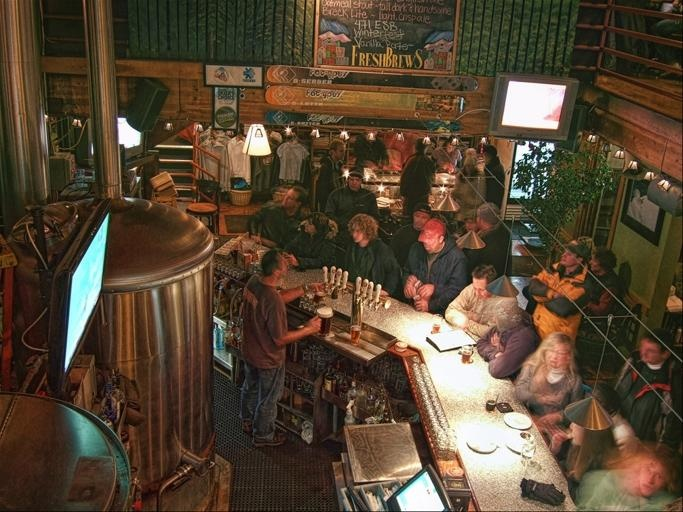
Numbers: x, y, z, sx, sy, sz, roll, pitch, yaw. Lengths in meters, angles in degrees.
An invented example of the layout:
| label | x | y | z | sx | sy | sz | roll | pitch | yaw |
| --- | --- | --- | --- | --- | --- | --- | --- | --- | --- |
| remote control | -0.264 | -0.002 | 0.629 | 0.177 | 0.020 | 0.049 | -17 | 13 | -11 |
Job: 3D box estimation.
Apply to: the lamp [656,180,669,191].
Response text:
| label | x | y | z | sx | sy | sz | roll | pitch | yaw |
| --- | --- | --- | --- | --- | --- | --- | --- | --- | --- |
| lamp | 3.415 | -0.757 | 5.362 | 0.097 | 0.098 | 0.100 | -9 | 27 | -19 |

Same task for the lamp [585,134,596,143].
| label | x | y | z | sx | sy | sz | roll | pitch | yaw |
| --- | --- | --- | --- | --- | --- | --- | --- | --- | --- |
| lamp | 3.570 | -1.676 | 7.222 | 0.161 | 0.145 | 0.224 | 3 | 12 | 23 |

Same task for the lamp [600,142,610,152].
| label | x | y | z | sx | sy | sz | roll | pitch | yaw |
| --- | --- | --- | --- | --- | --- | --- | --- | --- | --- |
| lamp | 4.721 | -1.953 | 9.038 | 0.224 | 0.098 | 0.387 | 4 | 28 | 16 |

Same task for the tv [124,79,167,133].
| label | x | y | z | sx | sy | sz | roll | pitch | yaw |
| --- | --- | --- | --- | --- | --- | --- | --- | --- | --- |
| tv | -2.667 | -2.070 | 6.943 | 0.601 | 0.708 | 0.397 | -1 | 21 | -12 |

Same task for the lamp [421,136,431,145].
| label | x | y | z | sx | sy | sz | roll | pitch | yaw |
| --- | --- | --- | --- | --- | --- | --- | --- | --- | --- |
| lamp | 1.481 | -2.004 | 8.771 | 0.195 | 0.129 | 0.339 | 0 | 8 | 3 |

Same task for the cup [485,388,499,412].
| label | x | y | z | sx | sy | sz | roll | pitch | yaw |
| --- | --- | --- | --- | --- | --- | --- | --- | --- | --- |
| cup | 1.585 | 1.517 | 5.278 | 0.172 | 0.184 | 0.111 | 0 | 12 | -42 |

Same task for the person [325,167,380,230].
| label | x | y | z | sx | sy | sz | roll | pitch | yaw |
| --- | --- | --- | --- | --- | --- | --- | --- | --- | --- |
| person | 0.191 | -0.994 | 8.995 | 0.938 | 1.243 | 0.824 | 7 | -6 | -16 |

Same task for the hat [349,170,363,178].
| label | x | y | z | sx | sy | sz | roll | pitch | yaw |
| --- | --- | --- | --- | --- | --- | --- | --- | --- | --- |
| hat | 0.265 | -1.517 | 9.307 | 0.212 | 0.135 | 0.222 | 10 | 16 | 11 |

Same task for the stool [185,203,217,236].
| label | x | y | z | sx | sy | sz | roll | pitch | yaw |
| --- | --- | --- | --- | --- | --- | --- | --- | --- | --- |
| stool | -3.005 | -0.946 | 11.147 | 0.700 | 0.854 | 0.759 | 1 | 25 | -7 |

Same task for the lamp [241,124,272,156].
| label | x | y | z | sx | sy | sz | roll | pitch | yaw |
| --- | --- | --- | --- | --- | --- | --- | --- | --- | --- |
| lamp | -1.224 | -1.652 | 7.227 | 0.417 | 0.477 | 0.417 | 8 | 13 | 23 |

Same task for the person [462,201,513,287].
| label | x | y | z | sx | sy | sz | roll | pitch | yaw |
| --- | --- | --- | --- | --- | --- | --- | --- | --- | --- |
| person | 2.278 | -0.187 | 8.306 | 0.585 | 1.177 | 0.703 | 7 | -8 | -6 |

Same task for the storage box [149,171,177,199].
| label | x | y | z | sx | sy | sz | roll | pitch | yaw |
| --- | --- | --- | --- | --- | --- | --- | --- | --- | --- |
| storage box | -3.829 | -1.546 | 10.954 | 0.457 | 0.565 | 0.763 | -14 | 13 | -7 |

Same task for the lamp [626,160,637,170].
| label | x | y | z | sx | sy | sz | roll | pitch | yaw |
| --- | --- | --- | --- | --- | --- | --- | --- | --- | --- |
| lamp | 3.744 | -1.174 | 6.493 | 0.112 | 0.122 | 0.114 | -2 | 7 | -27 |

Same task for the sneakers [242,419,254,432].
| label | x | y | z | sx | sy | sz | roll | pitch | yaw |
| --- | --- | --- | --- | --- | --- | --- | --- | --- | --- |
| sneakers | -1.188 | 2.173 | 6.466 | 0.126 | 0.161 | 0.171 | 1 | -7 | -4 |

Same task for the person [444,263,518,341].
| label | x | y | z | sx | sy | sz | roll | pitch | yaw |
| --- | --- | --- | --- | --- | --- | --- | --- | --- | --- |
| person | 1.924 | 0.658 | 6.805 | 0.910 | 1.083 | 0.863 | -10 | 28 | -9 |

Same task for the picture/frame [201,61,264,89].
| label | x | y | z | sx | sy | sz | roll | pitch | yaw |
| --- | --- | --- | --- | --- | --- | --- | --- | --- | --- |
| picture/frame | -1.480 | -2.508 | 7.012 | 0.805 | 0.294 | 0.149 | -2 | 21 | -16 |

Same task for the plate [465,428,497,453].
| label | x | y | z | sx | sy | sz | roll | pitch | yaw |
| --- | --- | --- | --- | --- | --- | --- | --- | --- | --- |
| plate | 1.339 | 1.776 | 4.797 | 0.304 | 0.063 | 0.230 | 4 | 21 | 1 |

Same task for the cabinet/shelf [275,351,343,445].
| label | x | y | z | sx | sy | sz | roll | pitch | yaw |
| --- | --- | --- | --- | --- | --- | --- | --- | --- | --- |
| cabinet/shelf | -0.372 | 1.733 | 6.271 | 0.340 | 0.978 | 0.950 | -7 | 21 | -39 |

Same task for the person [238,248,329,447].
| label | x | y | z | sx | sy | sz | roll | pitch | yaw |
| --- | --- | --- | --- | --- | --- | --- | --- | --- | --- |
| person | -0.793 | 1.073 | 6.262 | 0.888 | 2.519 | 0.841 | -4 | 22 | -19 |

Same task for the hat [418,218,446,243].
| label | x | y | z | sx | sy | sz | roll | pitch | yaw |
| --- | --- | --- | --- | --- | --- | --- | --- | --- | --- |
| hat | 1.376 | -0.391 | 7.634 | 0.375 | 0.226 | 0.274 | -11 | 21 | -22 |

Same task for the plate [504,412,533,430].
| label | x | y | z | sx | sy | sz | roll | pitch | yaw |
| --- | --- | --- | --- | --- | --- | --- | --- | --- | --- |
| plate | 1.775 | 1.657 | 5.065 | 0.274 | 0.054 | 0.232 | -1 | 22 | -12 |

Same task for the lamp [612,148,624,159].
| label | x | y | z | sx | sy | sz | roll | pitch | yaw |
| --- | --- | --- | --- | --- | --- | --- | --- | --- | --- |
| lamp | 3.925 | -1.429 | 7.089 | 0.154 | 0.182 | 0.162 | -1 | 9 | 3 |

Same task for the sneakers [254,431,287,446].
| label | x | y | z | sx | sy | sz | roll | pitch | yaw |
| --- | --- | --- | --- | --- | --- | --- | --- | --- | --- |
| sneakers | -0.877 | 2.314 | 6.336 | 0.373 | 0.182 | 0.165 | -4 | 19 | -13 |

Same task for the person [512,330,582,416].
| label | x | y | z | sx | sy | sz | roll | pitch | yaw |
| --- | --- | --- | --- | --- | --- | --- | --- | --- | --- |
| person | 2.411 | 1.418 | 5.969 | 0.650 | 1.149 | 0.648 | 10 | -5 | 20 |

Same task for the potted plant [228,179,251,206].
| label | x | y | z | sx | sy | sz | roll | pitch | yaw |
| --- | --- | --- | --- | --- | --- | --- | --- | --- | --- |
| potted plant | -2.642 | -1.682 | 13.341 | 0.560 | 0.497 | 0.640 | 2 | 15 | 5 |

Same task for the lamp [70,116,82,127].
| label | x | y | z | sx | sy | sz | roll | pitch | yaw |
| --- | --- | --- | --- | --- | --- | --- | --- | --- | --- |
| lamp | -5.712 | -2.887 | 10.936 | 0.202 | 0.212 | 0.478 | -7 | 24 | -27 |
